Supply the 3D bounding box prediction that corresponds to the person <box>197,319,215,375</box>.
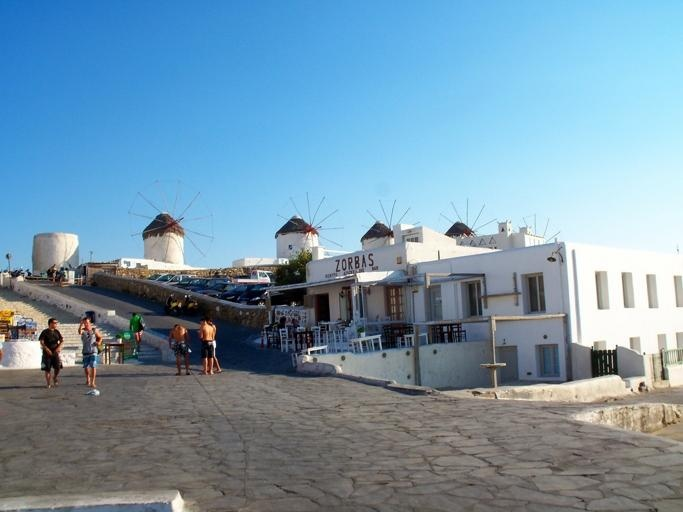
[{"bbox_3d":[-4.183,2.797,17.542,0.383,1.730,0.704,0,-4,-13],"label":"person"}]
